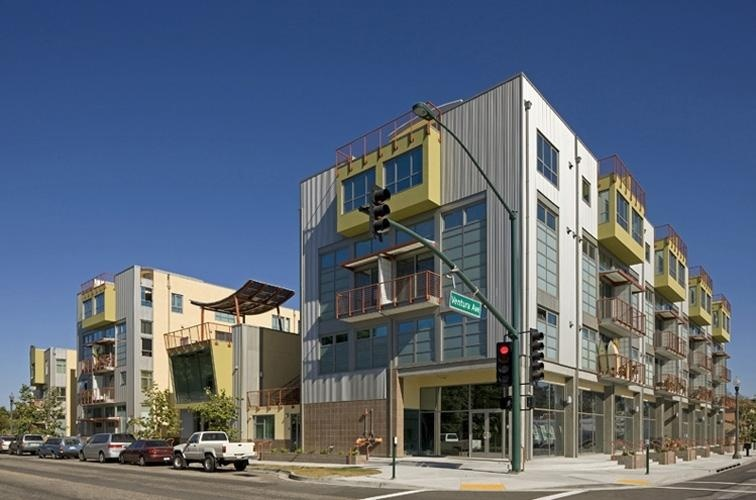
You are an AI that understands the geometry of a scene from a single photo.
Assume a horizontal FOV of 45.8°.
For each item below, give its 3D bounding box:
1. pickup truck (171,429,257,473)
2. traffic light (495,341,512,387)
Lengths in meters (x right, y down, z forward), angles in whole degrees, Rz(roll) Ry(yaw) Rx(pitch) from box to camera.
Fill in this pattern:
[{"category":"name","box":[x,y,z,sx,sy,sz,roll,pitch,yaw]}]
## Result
[{"category":"pickup truck","box":[-11.658,14.206,63.293,5.861,3.084,1.774,-12,-21,26]},{"category":"traffic light","box":[8.139,7.348,57.843,1.079,2.721,0.862,-3,-18,5]}]
